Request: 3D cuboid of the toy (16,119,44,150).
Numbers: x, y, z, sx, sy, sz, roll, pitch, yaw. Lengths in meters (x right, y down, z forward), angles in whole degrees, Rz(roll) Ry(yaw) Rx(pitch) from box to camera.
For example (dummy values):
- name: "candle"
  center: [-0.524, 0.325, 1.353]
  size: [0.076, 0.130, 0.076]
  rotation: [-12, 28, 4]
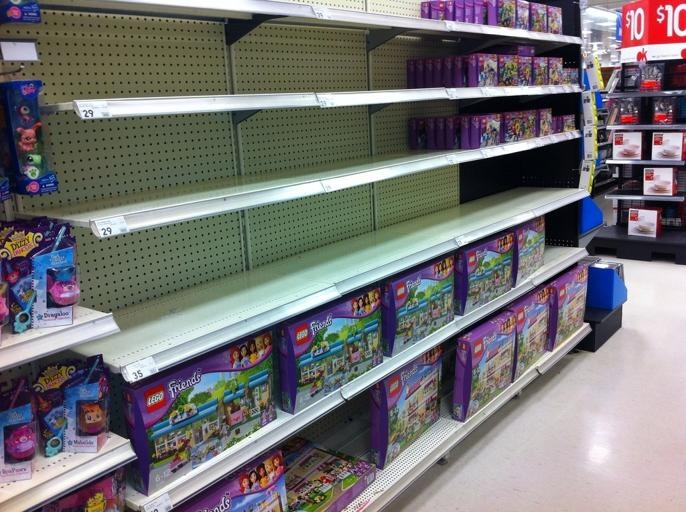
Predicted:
- name: "toy"
  center: [-0.952, -0.365, 1.534]
  size: [0.031, 0.086, 0.083]
  rotation: [1, 18, 19]
